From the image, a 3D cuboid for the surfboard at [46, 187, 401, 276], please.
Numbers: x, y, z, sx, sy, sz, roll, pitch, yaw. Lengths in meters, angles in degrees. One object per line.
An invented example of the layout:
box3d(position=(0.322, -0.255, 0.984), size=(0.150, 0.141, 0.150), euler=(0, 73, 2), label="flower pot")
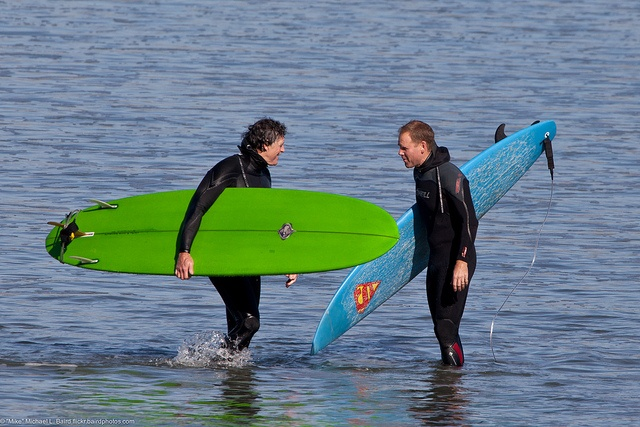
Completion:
box3d(position=(-1.366, 0.215, 20.291), size=(0.533, 1.140, 6.056), euler=(17, 11, 39), label="surfboard")
